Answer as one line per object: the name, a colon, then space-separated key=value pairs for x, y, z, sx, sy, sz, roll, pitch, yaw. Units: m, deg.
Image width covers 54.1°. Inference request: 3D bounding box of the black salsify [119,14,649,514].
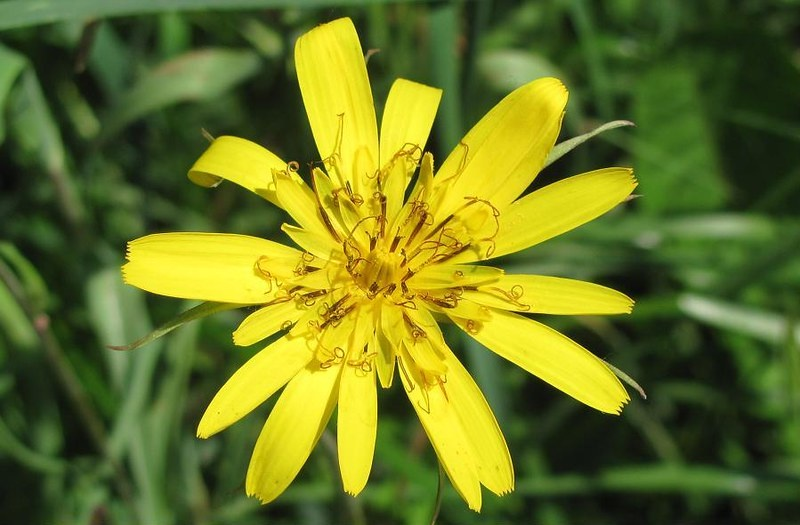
black salsify: x=-0.028 y=0.038 z=3.009 sx=1.828 sy=0.367 sz=1.775 roll=-27 pitch=81 yaw=-4
